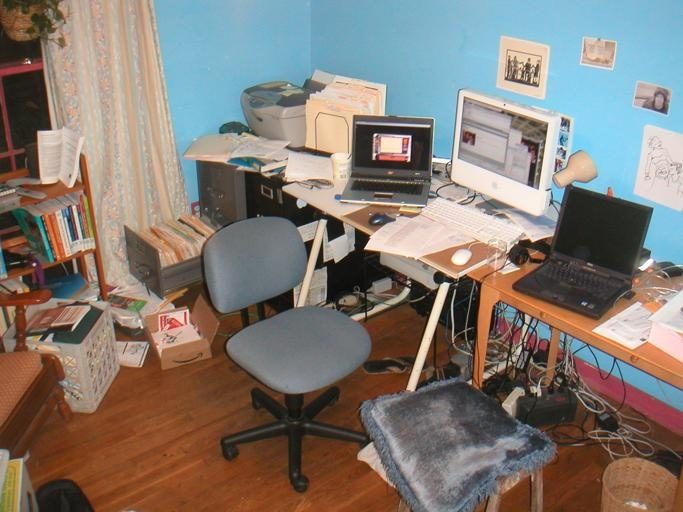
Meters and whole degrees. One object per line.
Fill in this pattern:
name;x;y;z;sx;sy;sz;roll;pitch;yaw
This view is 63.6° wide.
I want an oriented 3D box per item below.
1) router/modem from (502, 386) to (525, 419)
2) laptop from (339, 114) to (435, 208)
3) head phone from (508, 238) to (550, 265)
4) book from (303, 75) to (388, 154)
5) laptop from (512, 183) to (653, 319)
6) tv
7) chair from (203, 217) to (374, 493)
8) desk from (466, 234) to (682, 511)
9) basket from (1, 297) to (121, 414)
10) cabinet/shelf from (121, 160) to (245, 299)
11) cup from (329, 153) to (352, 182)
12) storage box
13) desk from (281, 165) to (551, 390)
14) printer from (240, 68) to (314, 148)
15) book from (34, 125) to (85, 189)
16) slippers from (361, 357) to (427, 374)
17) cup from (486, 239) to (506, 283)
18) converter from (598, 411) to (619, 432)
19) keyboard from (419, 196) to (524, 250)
router/modem;0.870;0.741;2.776;0.165;0.152;0.057;-41;46;-21
laptop;0.242;-0.515;2.962;0.474;0.336;0.389;7;40;16
head phone;0.866;-0.026;2.572;0.173;0.081;0.119;-17;40;-15
book;-0.006;-0.891;3.400;0.414;0.175;0.533;8;38;15
laptop;1.017;-0.023;2.360;0.518;0.311;0.470;-23;33;-16
tv;0.821;-0.508;2.713;0.182;0.484;0.549;-28;49;-34
chair;-0.248;0.453;2.618;0.683;1.149;0.669;-9;28;-25
desk;1.080;0.541;2.481;0.592;0.683;0.965;-23;43;-37
basket;-1.329;0.532;2.957;0.547;0.510;0.519;5;45;1
cabinet/shelf;-1.079;-0.241;3.665;0.656;0.790;0.546;-20;39;-36
cup;0.003;-0.504;3.114;0.144;0.124;0.138;1;38;-1
storage box;-0.946;0.497;3.287;0.376;0.231;0.360;-12;43;-20
desk;0.341;0.138;2.957;1.044;0.705;1.397;-22;40;-39
printer;-0.390;-0.942;3.678;0.405;0.320;0.555;-20;36;-33
book;-1.633;-0.575;3.125;0.235;0.287;0.284;22;20;17
slippers;0.306;0.615;3.198;0.349;0.111;0.122;-2;-6;-2
cup;0.706;0.009;2.504;0.086;0.134;0.042;8;-12;-11
converter;1.362;0.853;2.817;0.080;0.071;0.105;-17;33;-3
keyboard;0.637;-0.168;2.712;0.392;0.042;0.235;25;42;31
